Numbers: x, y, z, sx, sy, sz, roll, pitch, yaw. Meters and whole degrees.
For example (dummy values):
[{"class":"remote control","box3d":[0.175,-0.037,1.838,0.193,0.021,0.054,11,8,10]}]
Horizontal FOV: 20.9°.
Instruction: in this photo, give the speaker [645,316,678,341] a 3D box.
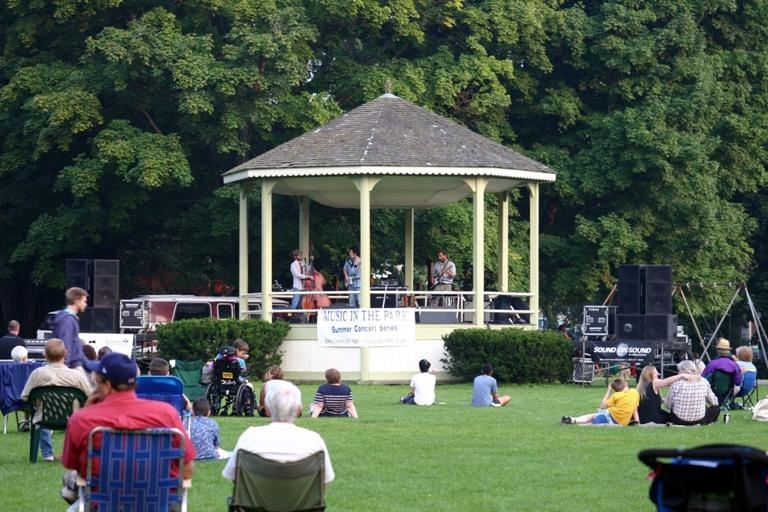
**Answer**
[{"class":"speaker","box3d":[8.676,2.324,64.800,1.008,0.967,0.762,-7,2,5]}]

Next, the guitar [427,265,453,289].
[{"class":"guitar","box3d":[1.836,0.732,67.588,0.869,1.144,0.661,3,3,24]}]

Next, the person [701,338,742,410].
[{"class":"person","box3d":[9.635,3.363,59.254,0.949,1.983,1.058,1,7,9]}]

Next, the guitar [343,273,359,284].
[{"class":"guitar","box3d":[-1.089,0.796,67.701,0.340,0.281,0.417,1,-1,-11]}]

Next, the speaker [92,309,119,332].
[{"class":"speaker","box3d":[-9.207,2.163,68.079,0.774,0.733,0.763,0,-3,-3]}]

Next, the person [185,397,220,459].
[{"class":"person","box3d":[-4.858,4.439,53.989,0.989,1.823,1.431,3,13,-1]}]

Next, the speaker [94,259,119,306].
[{"class":"speaker","box3d":[-9.198,0.957,68.221,0.900,1.587,0.500,2,-8,-14]}]

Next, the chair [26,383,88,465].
[{"class":"chair","box3d":[-8.708,4.313,54.244,1.953,2.458,1.918,1,4,-8]}]

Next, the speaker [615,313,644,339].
[{"class":"speaker","box3d":[7.739,2.288,65.048,0.950,0.869,0.709,0,-4,15]}]

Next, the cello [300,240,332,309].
[{"class":"cello","box3d":[-2.267,0.882,67.118,0.796,1.846,0.670,-1,-12,-5]}]

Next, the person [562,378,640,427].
[{"class":"person","box3d":[6.130,4.071,57.146,1.799,1.304,0.739,-1,-8,6]}]

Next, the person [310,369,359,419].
[{"class":"person","box3d":[-1.459,3.917,57.521,1.030,1.549,1.875,0,-2,-7]}]

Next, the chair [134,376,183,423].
[{"class":"chair","box3d":[-5.613,3.550,52.014,0.926,1.700,1.056,1,0,-1]}]
